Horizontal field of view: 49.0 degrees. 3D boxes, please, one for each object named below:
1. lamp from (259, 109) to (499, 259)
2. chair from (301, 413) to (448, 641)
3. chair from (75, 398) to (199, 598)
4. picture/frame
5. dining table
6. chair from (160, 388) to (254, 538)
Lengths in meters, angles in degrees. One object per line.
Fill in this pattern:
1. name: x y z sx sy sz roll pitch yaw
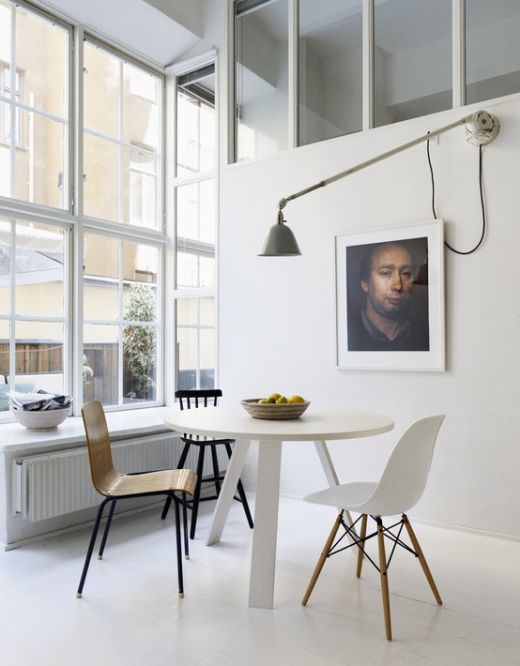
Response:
1. lamp: 0.627 -0.773 3.108 1.268 0.537 0.840 0 -1 0
2. chair: 0.377 0.723 2.208 0.370 0.682 0.348 -1 -5 28
3. chair: -0.547 0.724 2.574 0.470 0.797 0.416 0 2 -6
4. picture/frame: 0.787 -0.216 3.340 0.819 1.107 0.042 -3 -4 43
5. dining table: 0.073 0.620 2.463 0.752 0.584 0.812 0 -5 -6
6. chair: -0.291 0.739 3.569 0.475 0.860 0.515 -12 7 -24
